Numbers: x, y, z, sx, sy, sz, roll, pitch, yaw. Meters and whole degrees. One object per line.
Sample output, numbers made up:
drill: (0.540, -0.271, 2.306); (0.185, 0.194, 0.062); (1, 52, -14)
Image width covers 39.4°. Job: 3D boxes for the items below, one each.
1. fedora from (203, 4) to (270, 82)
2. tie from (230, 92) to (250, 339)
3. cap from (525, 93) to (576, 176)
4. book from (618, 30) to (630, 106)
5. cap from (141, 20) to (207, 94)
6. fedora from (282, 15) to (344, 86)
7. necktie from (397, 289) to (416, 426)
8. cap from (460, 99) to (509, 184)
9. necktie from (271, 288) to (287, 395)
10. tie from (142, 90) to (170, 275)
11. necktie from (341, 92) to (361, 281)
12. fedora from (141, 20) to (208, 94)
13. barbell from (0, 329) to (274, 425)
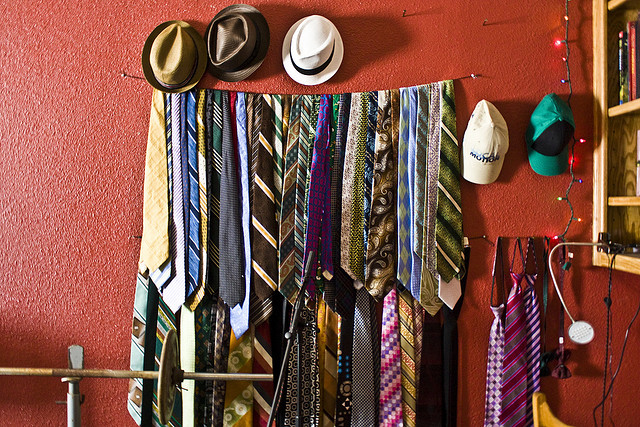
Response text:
fedora: (-0.451, -0.927, 4.836); (0.330, 0.254, 0.389); (3, -63, -20)
tie: (-0.464, -0.063, 4.786); (0.018, 0.141, 1.225); (2, -85, 35)
cap: (1.235, -0.409, 4.752); (0.229, 0.204, 0.446); (-3, -73, 0)
book: (1.626, -0.784, 4.755); (0.048, 0.361, 0.520); (0, -87, 17)
cap: (-0.776, -0.843, 4.745); (0.299, 0.135, 0.417); (9, -87, 3)
fedora: (-0.027, -0.927, 4.824); (0.343, 0.443, 0.167); (18, -34, 18)
necktie: (0.470, 0.767, 4.852); (0.037, 0.089, 0.750); (-3, -91, -7)
cap: (0.869, -0.369, 4.688); (0.223, 0.138, 0.446); (2, -76, 2)
necktie: (-0.232, 0.661, 4.776); (0.078, 0.025, 0.532); (6, -96, -2)
tie: (-0.887, -0.150, 4.775); (0.187, 0.020, 1.246); (-11, -43, -19)
necktie: (0.166, -0.161, 4.759); (0.106, 0.068, 0.884); (3, -92, 2)
fedora: (-0.795, -0.850, 4.768); (0.333, 0.146, 0.441); (16, -112, 4)
barbell: (-0.852, 0.862, 4.616); (1.900, 0.527, 0.599); (0, -94, -2)
